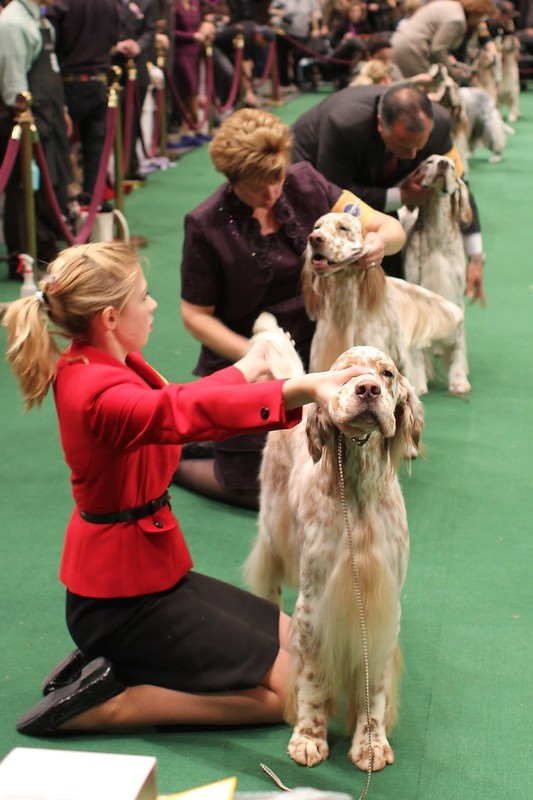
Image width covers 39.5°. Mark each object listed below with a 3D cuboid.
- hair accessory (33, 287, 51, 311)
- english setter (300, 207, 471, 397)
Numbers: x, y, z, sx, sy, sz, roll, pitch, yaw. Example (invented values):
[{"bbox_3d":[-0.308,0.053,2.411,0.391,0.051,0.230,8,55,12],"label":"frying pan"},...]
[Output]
[{"bbox_3d":[-0.515,-0.230,1.695,0.018,0.041,0.035,-29,38,-32],"label":"hair accessory"},{"bbox_3d":[0.452,-0.441,3.380,0.556,0.680,1.093,13,14,40],"label":"english setter"}]
